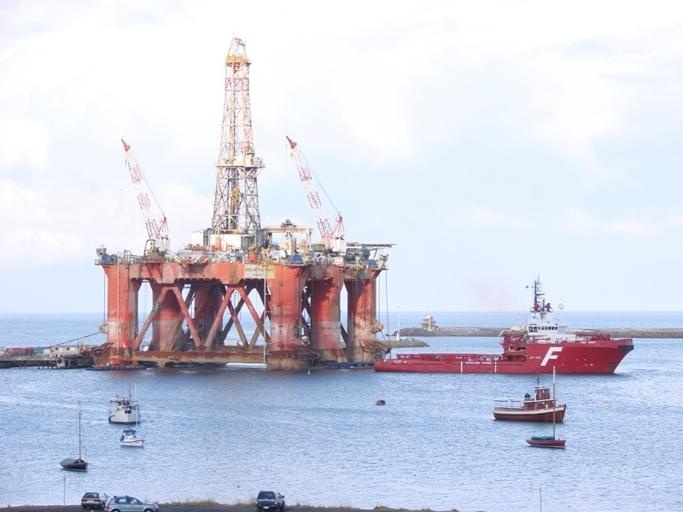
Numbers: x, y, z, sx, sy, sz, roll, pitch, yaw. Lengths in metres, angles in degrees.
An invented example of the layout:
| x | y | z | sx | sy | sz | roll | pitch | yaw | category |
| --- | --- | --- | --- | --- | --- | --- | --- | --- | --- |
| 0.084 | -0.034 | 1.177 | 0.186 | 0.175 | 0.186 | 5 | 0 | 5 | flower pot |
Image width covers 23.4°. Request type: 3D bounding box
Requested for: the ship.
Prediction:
| x | y | z | sx | sy | sz | roll | pitch | yaw | category |
| --- | --- | --- | --- | --- | --- | --- | --- | --- | --- |
| 16.205 | 6.750 | 161.353 | 25.888 | 9.218 | 10.826 | 0 | -1 | 20 | ship |
